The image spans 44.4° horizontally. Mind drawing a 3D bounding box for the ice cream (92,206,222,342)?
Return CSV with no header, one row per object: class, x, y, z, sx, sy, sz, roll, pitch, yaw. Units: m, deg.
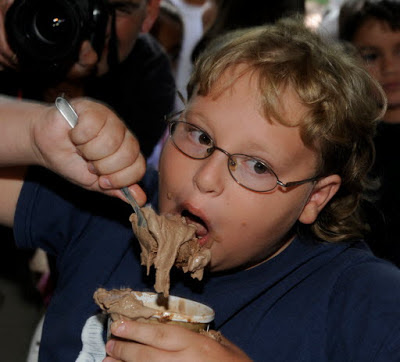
ice cream,-0.173,0.197,1.534,0.422,0.405,0.286,-6,8,-44
